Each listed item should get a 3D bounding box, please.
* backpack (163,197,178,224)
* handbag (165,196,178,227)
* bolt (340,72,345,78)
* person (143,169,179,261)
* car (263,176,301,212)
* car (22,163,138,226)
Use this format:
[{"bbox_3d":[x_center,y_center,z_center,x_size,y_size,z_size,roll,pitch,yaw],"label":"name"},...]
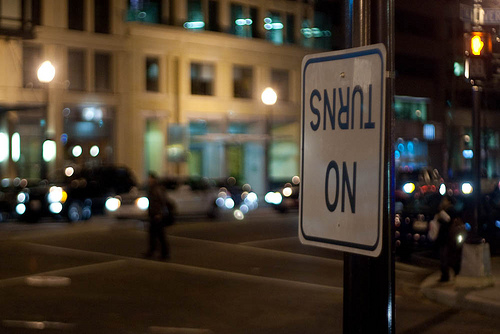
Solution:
[{"bbox_3d":[-1.705,0.946,12.724,0.142,0.486,0.382,2,25,-12],"label":"backpack"},{"bbox_3d":[-1.704,0.928,12.718,0.107,0.487,0.460,-1,10,18],"label":"handbag"},{"bbox_3d":[0.945,-0.944,6.108,0.035,0.036,0.038,3,41,1],"label":"bolt"},{"bbox_3d":[-1.891,1.053,12.685,0.741,2.080,0.465,-2,6,-19],"label":"person"},{"bbox_3d":[0.663,0.689,12.992,0.777,0.993,2.108,0,7,2],"label":"car"},{"bbox_3d":[-3.747,0.500,13.128,2.306,1.270,1.402,-2,0,-24],"label":"car"}]
